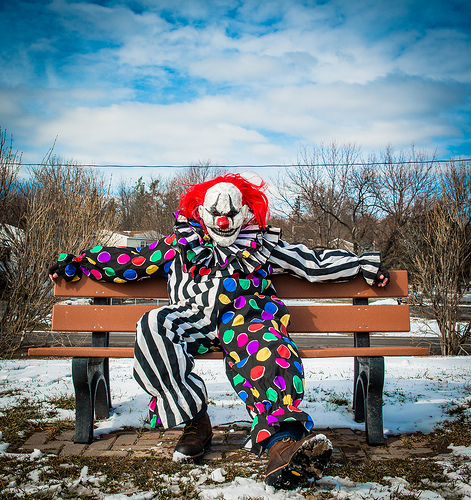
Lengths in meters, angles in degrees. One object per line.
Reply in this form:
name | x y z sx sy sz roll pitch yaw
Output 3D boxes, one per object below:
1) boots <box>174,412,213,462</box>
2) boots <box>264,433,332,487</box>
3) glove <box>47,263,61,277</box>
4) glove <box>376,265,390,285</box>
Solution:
boots | -0.221 0.969 2.581 0.124 0.174 0.221 1 3 17
boots | 0.258 0.894 2.135 0.228 0.116 0.210 -33 19 6
glove | -1.098 0.122 3.039 0.087 0.075 0.033 29 -4 -7
glove | 0.854 0.151 2.960 0.107 0.104 0.049 9 -13 -10
